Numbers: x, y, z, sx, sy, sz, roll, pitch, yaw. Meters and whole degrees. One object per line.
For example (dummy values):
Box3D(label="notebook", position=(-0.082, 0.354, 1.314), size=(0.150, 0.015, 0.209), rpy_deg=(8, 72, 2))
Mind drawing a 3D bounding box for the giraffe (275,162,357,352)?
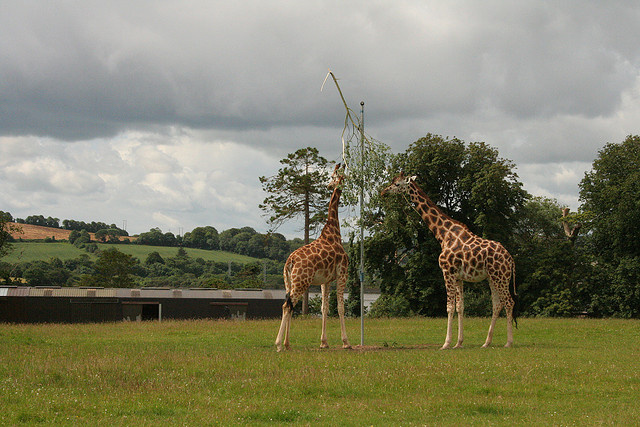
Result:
Box3D(label="giraffe", position=(-0.185, 2.912, 59.260), size=(3.552, 12.388, 3.580), rpy_deg=(0, -7, 6))
